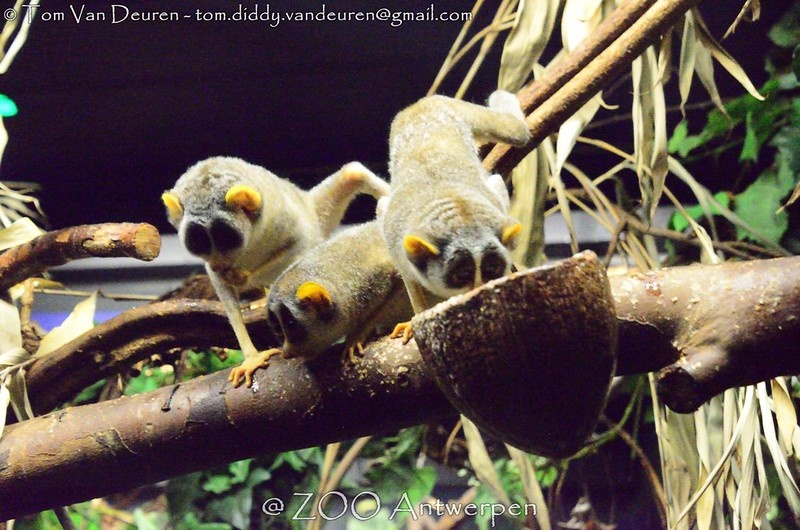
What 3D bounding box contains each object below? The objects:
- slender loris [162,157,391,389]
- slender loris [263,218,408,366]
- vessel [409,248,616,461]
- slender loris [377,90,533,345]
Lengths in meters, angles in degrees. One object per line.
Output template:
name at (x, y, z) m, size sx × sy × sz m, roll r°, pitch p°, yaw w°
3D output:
slender loris at (-0.490, 0.003, 3.593) m, size 0.577 × 0.776 × 0.584 m, roll 53°, pitch 31°, yaw -8°
slender loris at (-0.247, 0.090, 3.608) m, size 0.634 × 0.439 × 0.364 m, roll -42°, pitch 101°, yaw -16°
vessel at (0.464, 0.310, 3.281) m, size 0.617 × 0.701 × 0.703 m, roll 66°, pitch 14°, yaw 7°
slender loris at (0.224, -0.253, 3.508) m, size 0.594 × 0.420 × 0.969 m, roll -13°, pitch 67°, yaw 9°
